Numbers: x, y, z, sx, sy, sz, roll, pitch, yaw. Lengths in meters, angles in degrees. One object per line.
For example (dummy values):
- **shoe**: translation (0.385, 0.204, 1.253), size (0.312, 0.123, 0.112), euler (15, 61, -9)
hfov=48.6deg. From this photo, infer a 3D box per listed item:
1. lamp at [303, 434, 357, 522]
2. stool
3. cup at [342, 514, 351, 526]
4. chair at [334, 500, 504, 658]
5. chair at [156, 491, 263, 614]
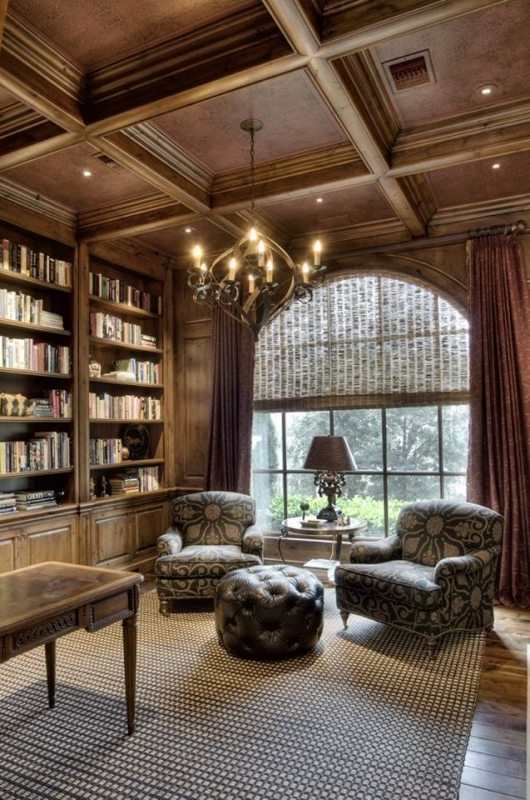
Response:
- **lamp**: translation (0.513, 0.587, 4.533), size (0.357, 0.631, 0.961), euler (-1, -3, 9)
- **stool**: translation (0.024, 1.149, 3.219), size (0.486, 0.297, 0.484), euler (2, -4, -2)
- **cup**: translation (0.603, 0.883, 4.359), size (0.067, 0.072, 0.077), euler (1, 0, 5)
- **chair**: translation (0.953, 1.040, 3.653), size (0.938, 0.763, 0.925), euler (-1, -2, 8)
- **chair**: translation (-0.407, 1.105, 4.363), size (0.711, 0.860, 0.857), euler (1, -9, -6)
